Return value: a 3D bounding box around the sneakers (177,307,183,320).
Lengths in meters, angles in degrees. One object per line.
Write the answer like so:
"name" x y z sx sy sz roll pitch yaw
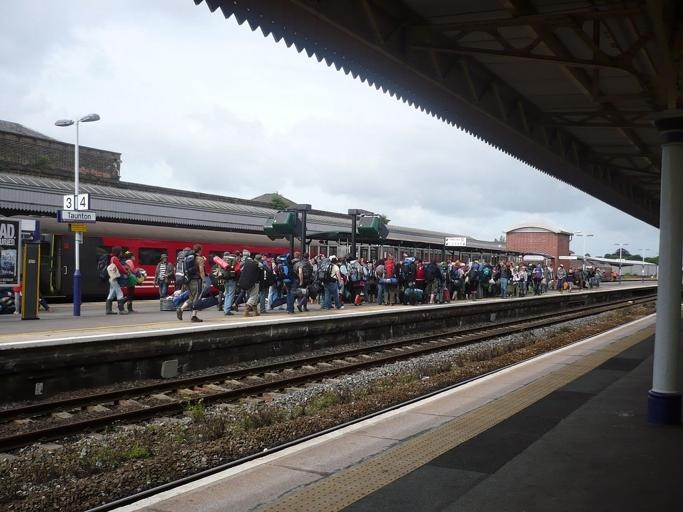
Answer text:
"sneakers" -4.919 1.745 15.862 0.121 0.439 0.169 6 8 33

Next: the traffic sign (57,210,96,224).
"traffic sign" -8.814 -1.354 17.333 1.055 0.377 0.471 0 0 -26

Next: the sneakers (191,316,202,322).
"sneakers" -4.252 1.865 15.347 0.104 0.165 0.331 3 4 33

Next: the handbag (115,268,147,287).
"handbag" -7.333 0.771 18.480 0.630 0.396 0.838 -14 2 16
